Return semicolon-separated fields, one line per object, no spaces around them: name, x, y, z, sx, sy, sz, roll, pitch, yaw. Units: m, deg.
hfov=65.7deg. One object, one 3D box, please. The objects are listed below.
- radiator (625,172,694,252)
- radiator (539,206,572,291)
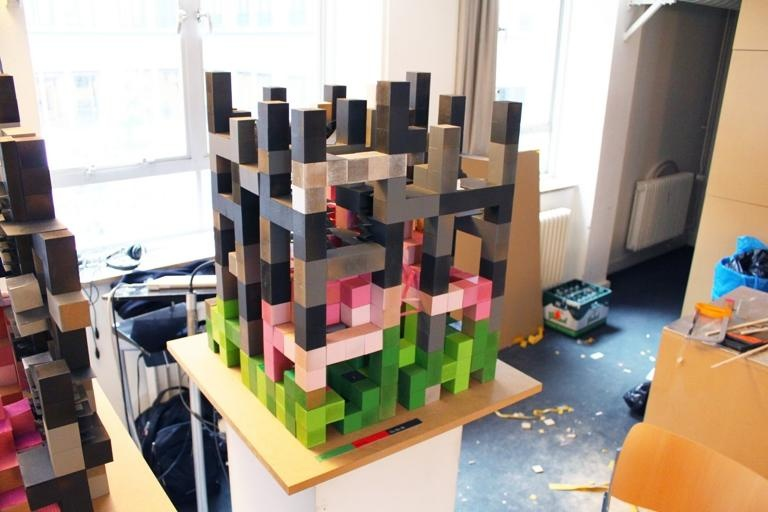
radiator;2.713;-0.474;5.905;0.906;0.662;0.122;-14;23;-36
radiator;1.387;-0.060;5.027;0.129;0.671;0.410;16;28;37
